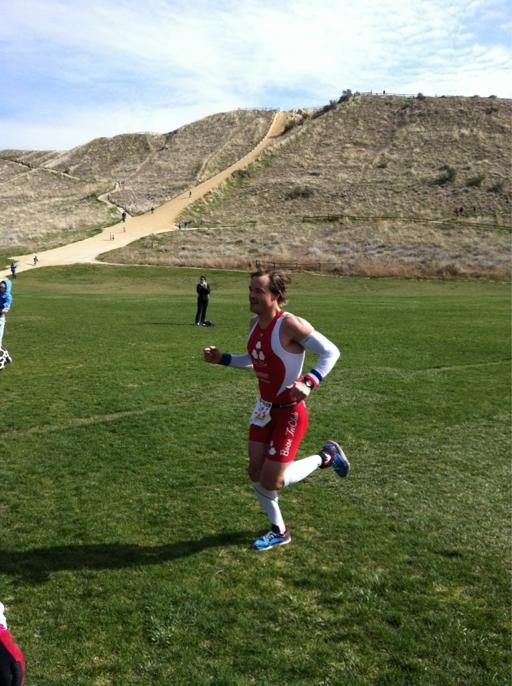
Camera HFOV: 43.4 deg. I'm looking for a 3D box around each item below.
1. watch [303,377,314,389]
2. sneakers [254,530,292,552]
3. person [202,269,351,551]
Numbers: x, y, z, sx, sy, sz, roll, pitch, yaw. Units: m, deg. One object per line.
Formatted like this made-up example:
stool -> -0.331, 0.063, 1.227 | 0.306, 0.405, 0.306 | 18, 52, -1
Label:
watch -> 0.441, 0.332, 5.396 | 0.092, 0.058, 0.100 | 11, 32, -28
sneakers -> 0.150, 1.846, 6.013 | 0.365, 0.130, 0.136 | -2, 3, -24
person -> 0.216, 0.613, 6.018 | 1.053, 2.548, 1.424 | 2, 13, 2
